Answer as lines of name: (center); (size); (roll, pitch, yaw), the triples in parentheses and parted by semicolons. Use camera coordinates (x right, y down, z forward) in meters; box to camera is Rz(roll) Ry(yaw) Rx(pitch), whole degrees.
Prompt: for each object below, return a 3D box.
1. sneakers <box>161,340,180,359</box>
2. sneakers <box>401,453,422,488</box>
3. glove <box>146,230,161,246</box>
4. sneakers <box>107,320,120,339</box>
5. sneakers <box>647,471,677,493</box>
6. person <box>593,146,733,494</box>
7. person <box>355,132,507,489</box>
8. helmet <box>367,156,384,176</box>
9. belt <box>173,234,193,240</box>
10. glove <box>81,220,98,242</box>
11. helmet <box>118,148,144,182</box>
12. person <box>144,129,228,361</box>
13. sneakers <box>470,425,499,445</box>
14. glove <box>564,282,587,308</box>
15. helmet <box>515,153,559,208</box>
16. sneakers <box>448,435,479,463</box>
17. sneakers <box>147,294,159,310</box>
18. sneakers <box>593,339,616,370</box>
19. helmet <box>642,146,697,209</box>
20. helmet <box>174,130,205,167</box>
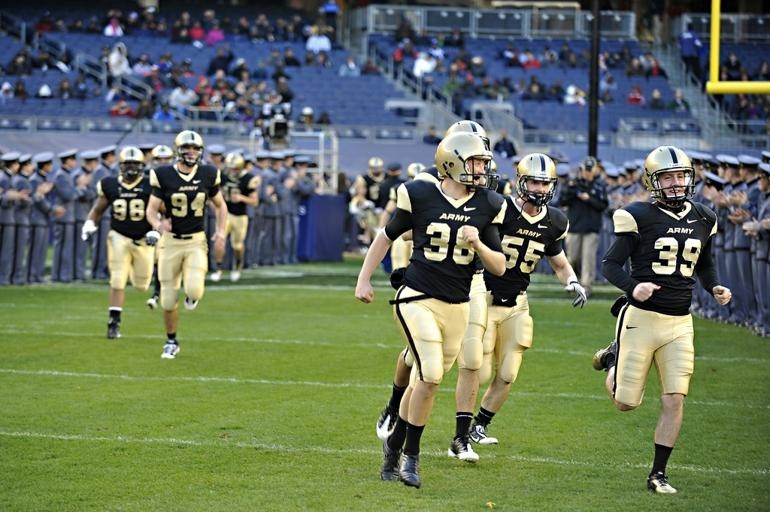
sneakers: (-2.706, 1.158, 13.062); (0.213, 0.207, 0.366); (0, 10, -14)
sneakers: (0.241, 1.982, 9.670); (0.201, 0.271, 0.292); (2, 9, 1)
glove: (-2.968, -0.235, 13.248); (0.212, 0.108, 0.297); (4, -12, -17)
sneakers: (-3.641, 0.963, 13.905); (0.162, 0.278, 0.181); (-1, 10, -18)
sneakers: (2.582, 2.087, 9.582); (0.261, 0.170, 0.196); (1, 9, -8)
person: (2.624, 0.529, 9.922); (1.093, 3.113, 1.148); (4, 9, 13)
person: (0.458, 0.473, 9.709); (1.307, 3.233, 0.746); (1, 9, -5)
helmet: (-0.195, -2.169, 24.450); (0.454, 0.495, 0.596); (0, -1, -4)
belt: (-2.545, -0.242, 13.053); (0.224, 0.050, 0.027); (0, 9, -14)
glove: (-4.535, -0.401, 15.842); (0.161, 0.380, 0.370); (23, -13, -28)
helmet: (-3.597, -1.316, 14.765); (0.345, 0.476, 0.473); (0, 7, -11)
person: (-2.569, -0.166, 13.215); (0.787, 2.835, 1.042); (8, 11, 34)
sneakers: (1.019, 1.847, 10.703); (0.131, 0.173, 0.371); (3, -3, -38)
glove: (2.031, 0.389, 10.657); (0.179, 0.262, 0.402); (-3, -9, -3)
helmet: (1.582, -0.813, 10.805); (0.396, 0.491, 0.537); (1, 7, -12)
sneakers: (0.769, 1.909, 10.185); (0.152, 0.186, 0.352); (5, -5, -28)
sneakers: (-3.541, 0.694, 15.852); (0.139, 0.177, 0.378); (34, -14, -4)
sneakers: (2.313, 1.006, 10.653); (0.187, 0.145, 0.425); (-23, 11, 39)
helmet: (2.745, -0.768, 9.952); (0.457, 0.547, 0.599); (-3, 9, -13)
helmet: (-2.464, -1.380, 13.268); (0.355, 0.434, 0.440); (-1, 3, -24)
